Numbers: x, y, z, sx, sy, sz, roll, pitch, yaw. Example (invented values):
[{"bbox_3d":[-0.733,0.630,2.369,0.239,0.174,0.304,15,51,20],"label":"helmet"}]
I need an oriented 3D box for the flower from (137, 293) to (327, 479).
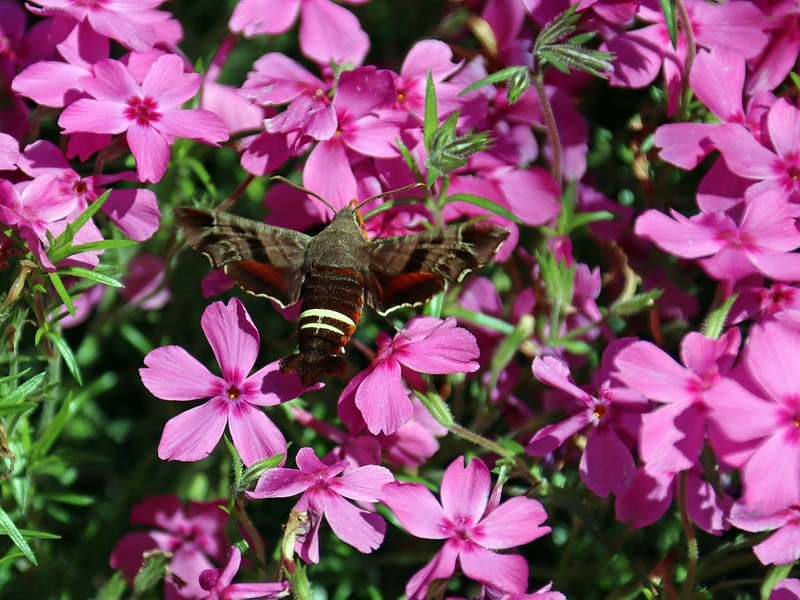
[{"bbox_3d":[-0.193,0.091,0.990,0.197,0.112,0.143,9,52,-1],"label":"flower"}]

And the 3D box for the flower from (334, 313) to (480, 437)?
[{"bbox_3d":[0.003,0.083,1.005,0.153,0.102,0.111,-19,57,-20],"label":"flower"}]

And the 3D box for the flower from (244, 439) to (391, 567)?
[{"bbox_3d":[-0.083,0.220,0.985,0.153,0.051,0.161,16,23,34],"label":"flower"}]
